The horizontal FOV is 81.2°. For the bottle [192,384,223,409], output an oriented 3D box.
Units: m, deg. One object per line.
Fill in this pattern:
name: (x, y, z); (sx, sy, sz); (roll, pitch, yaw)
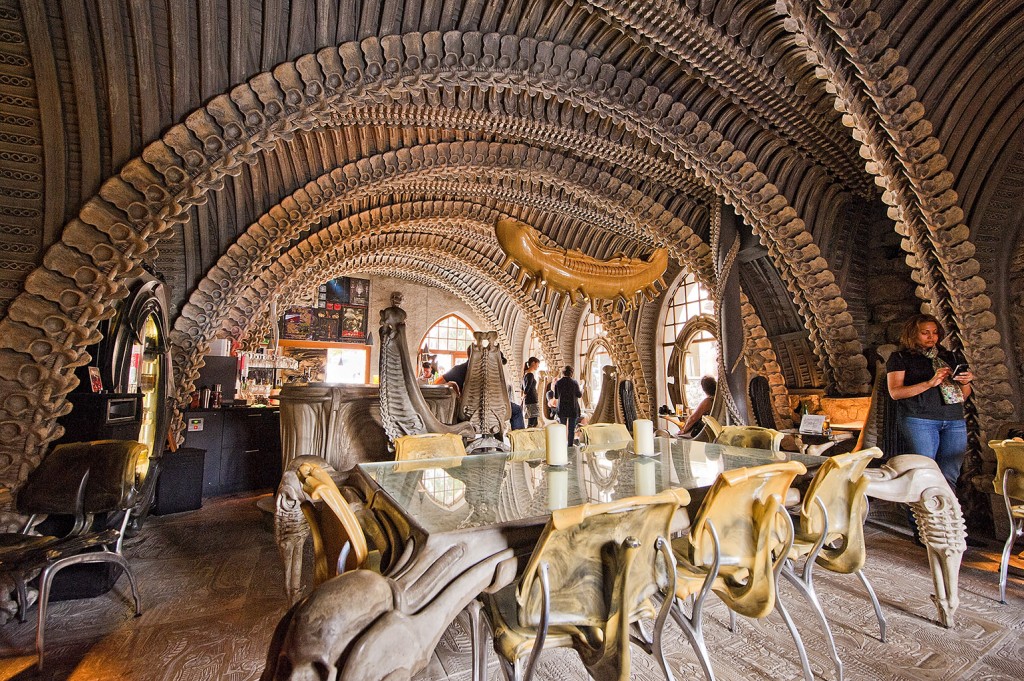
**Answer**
bottle: (-3.759, 0.692, 7.401); (0.361, 0.376, 0.276); (1, 0, -24)

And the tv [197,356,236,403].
tv: (-3.962, 0.460, 8.160); (0.584, 0.650, 0.143); (4, 2, -44)

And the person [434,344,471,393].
person: (-0.712, 0.443, 7.679); (0.493, 0.752, 0.240); (0, 22, -28)

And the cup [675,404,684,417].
cup: (2.920, 1.207, 10.371); (0.173, 0.255, 0.174); (3, -10, 1)

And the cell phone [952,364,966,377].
cell phone: (3.690, 0.244, 4.900); (0.136, 0.111, 0.073); (4, -10, -33)
